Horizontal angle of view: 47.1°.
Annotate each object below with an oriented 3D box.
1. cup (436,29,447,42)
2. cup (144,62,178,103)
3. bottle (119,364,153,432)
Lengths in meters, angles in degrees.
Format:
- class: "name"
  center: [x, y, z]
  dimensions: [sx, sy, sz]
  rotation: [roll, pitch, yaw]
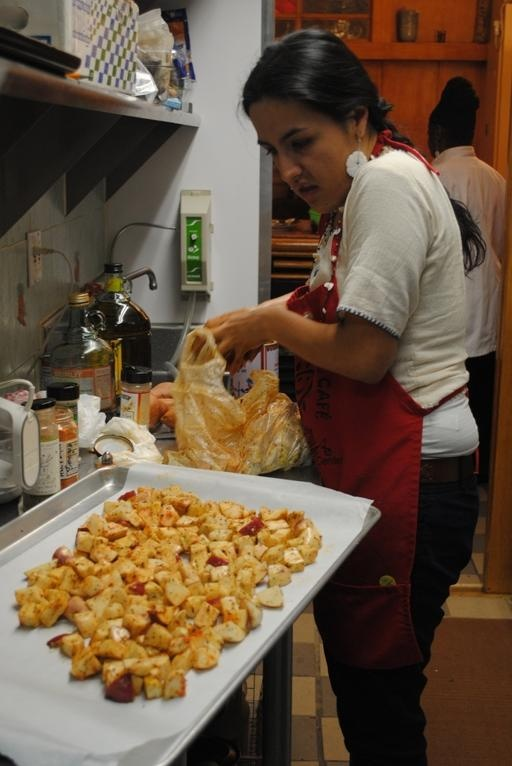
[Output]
- class: "cup"
  center: [1.388, -2.612, 4.392]
  dimensions: [0.083, 0.092, 0.082]
  rotation: [-2, 30, 1]
- class: "cup"
  center: [-0.279, -0.866, 1.698]
  dimensions: [0.079, 0.057, 0.132]
  rotation: [-5, 12, -3]
- class: "bottle"
  center: [-0.258, 0.032, 1.250]
  dimensions: [0.064, 0.132, 0.108]
  rotation: [-2, 15, -14]
